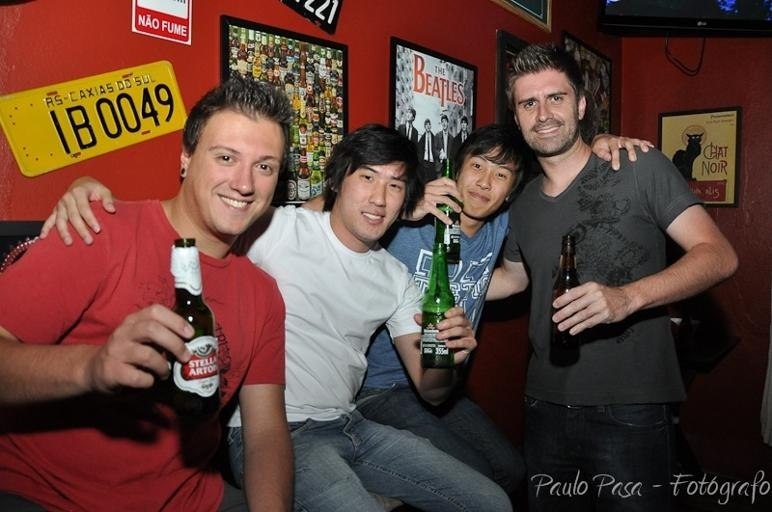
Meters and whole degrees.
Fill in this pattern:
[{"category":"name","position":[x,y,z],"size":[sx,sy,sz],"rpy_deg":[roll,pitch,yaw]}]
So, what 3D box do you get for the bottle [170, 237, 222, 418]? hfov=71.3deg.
[{"category":"bottle","position":[-0.612,0.228,1.700],"size":[0.143,0.582,0.216],"rpy_deg":[-5,16,-21]}]
